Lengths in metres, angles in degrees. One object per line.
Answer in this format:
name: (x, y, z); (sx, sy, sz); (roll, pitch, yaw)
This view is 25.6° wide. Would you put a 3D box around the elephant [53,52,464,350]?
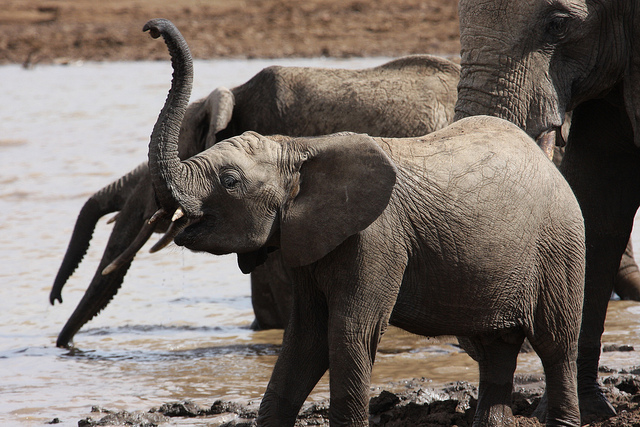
elephant: (-0.050, -0.399, 11.645); (4.196, 2.023, 1.688); (-2, -3, 2)
